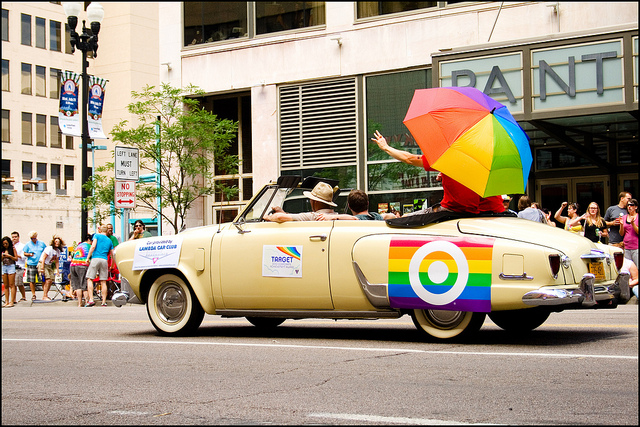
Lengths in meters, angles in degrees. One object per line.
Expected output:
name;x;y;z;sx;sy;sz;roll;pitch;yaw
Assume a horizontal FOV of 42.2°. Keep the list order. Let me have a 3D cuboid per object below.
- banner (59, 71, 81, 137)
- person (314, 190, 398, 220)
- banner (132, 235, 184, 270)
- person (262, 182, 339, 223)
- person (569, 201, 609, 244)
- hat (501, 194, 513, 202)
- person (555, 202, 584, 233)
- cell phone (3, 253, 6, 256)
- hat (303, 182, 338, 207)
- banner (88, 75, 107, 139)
banner;-7.674;-3.327;25.120;0.593;1.954;1.123;-1;2;9
person;0.689;-0.053;14.144;1.427;0.599;0.465;-1;11;-1
banner;-2.901;0.694;14.723;0.965;0.598;0.350;0;2;31
person;-0.335;-0.108;14.220;0.957;0.457;0.750;-18;-23;23
person;6.388;0.232;19.528;0.484;1.354;0.676;19;-27;-36
hat;3.996;-0.320;17.651;0.236;0.082;0.235;10;2;-27
person;6.438;0.108;21.218;0.443;1.405;0.720;3;-1;29
cell phone;-9.267;1.206;24.060;0.058;0.059;0.108;6;3;3
hat;0.021;-0.340;14.255;0.400;0.179;0.415;27;2;39
banner;-7.004;-3.292;25.713;0.536;2.086;2.114;-2;2;-14
